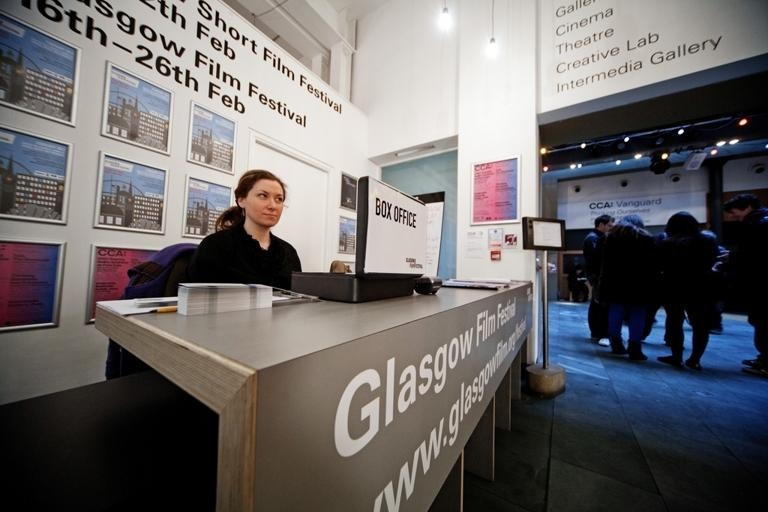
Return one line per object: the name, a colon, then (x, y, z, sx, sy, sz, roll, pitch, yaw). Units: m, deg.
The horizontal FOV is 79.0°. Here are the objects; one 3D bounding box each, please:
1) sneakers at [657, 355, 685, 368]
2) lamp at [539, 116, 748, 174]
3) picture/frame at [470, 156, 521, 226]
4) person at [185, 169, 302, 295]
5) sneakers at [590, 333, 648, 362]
sneakers: (3.113, 1.127, 5.059, 0.086, 0.112, 0.261, 0, 0, -21)
lamp: (3.827, -1.488, 7.131, 3.820, 0.615, 0.303, -8, 7, -1)
picture/frame: (1.254, -0.720, 5.168, 0.735, 1.040, 0.039, 0, 1, 35)
person: (-1.257, -0.213, 3.985, 0.484, 1.013, 0.946, -12, -16, 34)
sneakers: (2.738, 1.101, 5.485, 0.198, 0.270, 0.599, 4, -10, -28)
